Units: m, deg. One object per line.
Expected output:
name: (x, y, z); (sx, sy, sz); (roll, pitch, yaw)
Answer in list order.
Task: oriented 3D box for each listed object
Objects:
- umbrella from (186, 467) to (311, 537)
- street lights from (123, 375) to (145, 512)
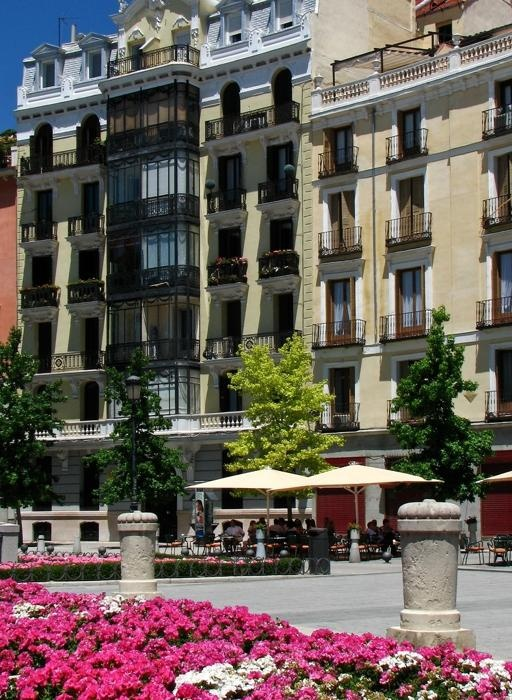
umbrella: (-0.130, 4.472, 53.501); (2.251, 2.267, 4.363); (2, -12, -44)
street lights: (-2.895, 2.143, 43.702); (0.657, 3.179, 0.708); (0, 4, 9)
